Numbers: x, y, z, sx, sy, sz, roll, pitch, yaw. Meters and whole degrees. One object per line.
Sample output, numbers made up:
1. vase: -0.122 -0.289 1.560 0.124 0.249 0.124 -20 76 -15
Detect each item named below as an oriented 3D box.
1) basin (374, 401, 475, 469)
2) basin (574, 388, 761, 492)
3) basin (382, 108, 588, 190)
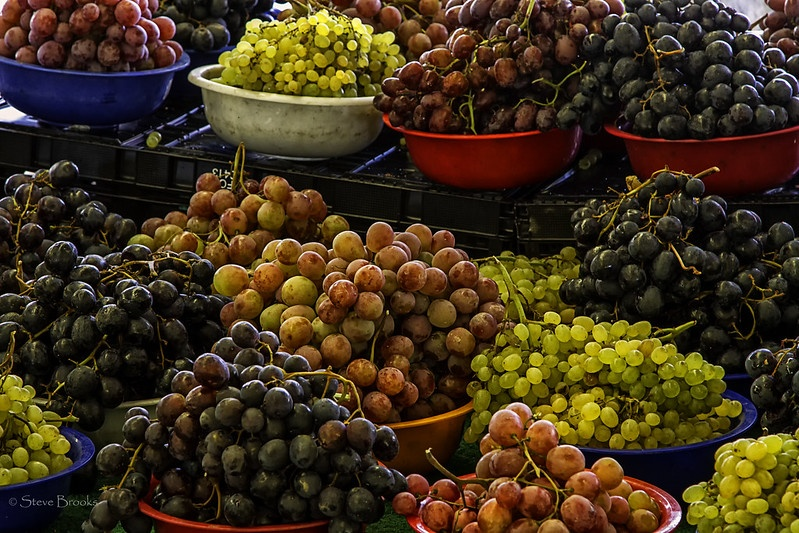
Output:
1. basin: 0.074 0.448 2.002 0.254 0.132 0.248 -11 -6 -1
2. basin: 0.632 0.376 1.811 0.244 0.094 0.250 -8 3 0
3. basin: 0.325 -0.408 2.722 0.685 0.217 0.726 -3 16 1
